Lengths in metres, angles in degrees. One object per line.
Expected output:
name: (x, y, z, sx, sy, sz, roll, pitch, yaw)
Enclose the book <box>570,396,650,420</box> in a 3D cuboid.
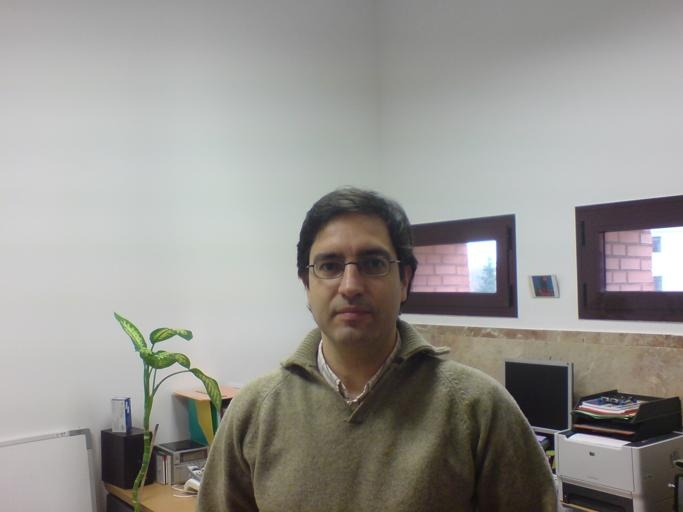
book: (1.507, 0.841, 3.104, 0.199, 0.050, 0.191, 0, 2, 42)
